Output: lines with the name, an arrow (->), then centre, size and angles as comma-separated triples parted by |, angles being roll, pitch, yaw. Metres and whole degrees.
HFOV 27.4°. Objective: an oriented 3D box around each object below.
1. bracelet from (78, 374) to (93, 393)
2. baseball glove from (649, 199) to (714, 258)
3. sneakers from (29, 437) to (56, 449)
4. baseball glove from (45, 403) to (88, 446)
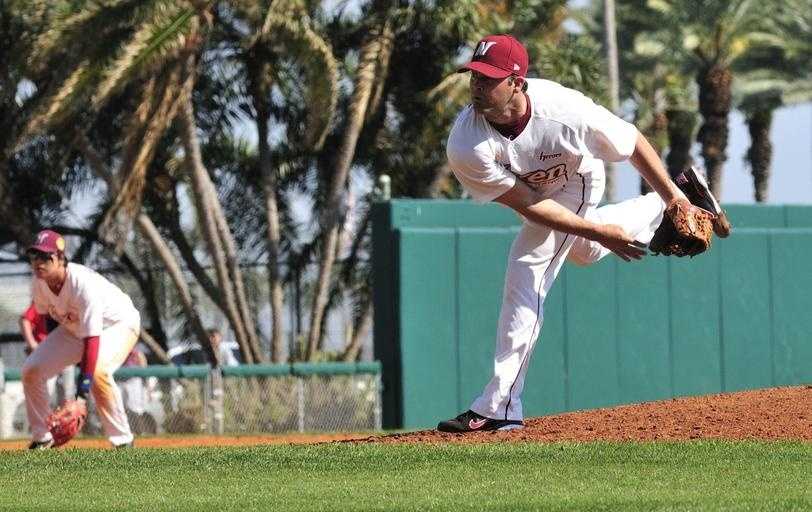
bracelet -> -4.033, 1.631, 20.927 | 0.181, 0.229, 0.187 | -2, -5, -11
baseball glove -> 3.425, -0.394, 20.195 | 0.563, 0.366, 0.763 | 22, 21, 22
sneakers -> -4.645, 2.419, 21.211 | 0.340, 0.154, 0.126 | 5, -13, -19
baseball glove -> -4.280, 2.093, 20.897 | 0.271, 0.551, 0.411 | 44, -15, -23
